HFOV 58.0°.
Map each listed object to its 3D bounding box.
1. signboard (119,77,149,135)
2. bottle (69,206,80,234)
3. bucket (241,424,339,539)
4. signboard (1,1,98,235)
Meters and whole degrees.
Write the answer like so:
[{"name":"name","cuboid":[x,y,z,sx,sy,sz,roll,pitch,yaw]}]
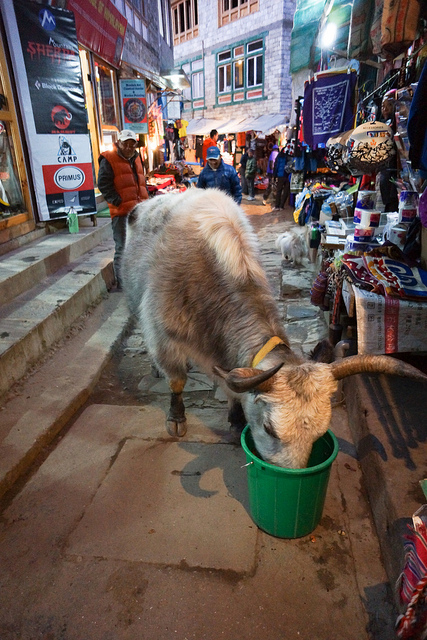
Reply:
[{"name":"signboard","cuboid":[-2.028,-5.457,9.770,0.697,1.262,0.408,-7,22,-9]},{"name":"bottle","cuboid":[-2.294,-1.640,6.283,0.178,0.414,0.388,-10,22,-16]},{"name":"bucket","cuboid":[0.359,0.830,2.042,0.520,0.436,0.518,-1,11,0]},{"name":"signboard","cuboid":[-2.434,-2.968,5.854,0.315,3.134,1.257,6,23,24]}]
